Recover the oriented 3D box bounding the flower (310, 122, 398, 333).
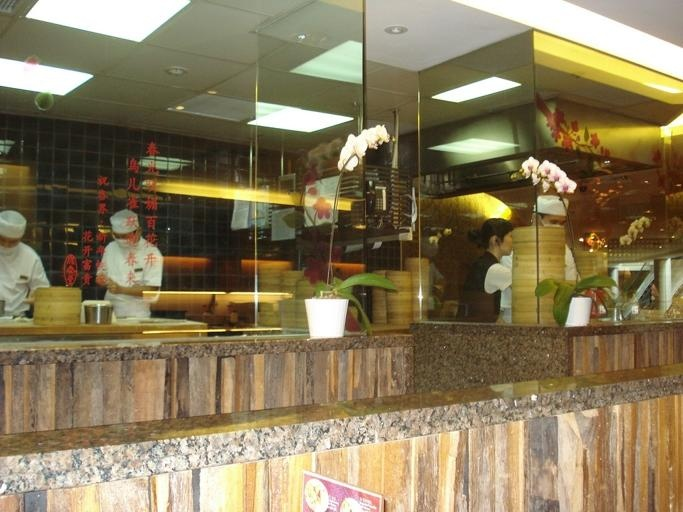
[{"bbox_3d":[0.036,-0.113,2.928,0.381,0.912,0.512,0,0,2],"label":"flower"}]

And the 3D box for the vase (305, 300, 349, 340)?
[{"bbox_3d":[-0.055,0.264,2.745,0.156,0.128,0.166,5,-11,-24],"label":"vase"}]

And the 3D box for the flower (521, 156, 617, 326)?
[{"bbox_3d":[1.127,-0.108,3.421,0.446,0.844,0.889,-1,0,21],"label":"flower"}]

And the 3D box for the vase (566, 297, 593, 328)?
[{"bbox_3d":[1.042,0.252,3.031,0.086,0.134,0.222,-1,0,37],"label":"vase"}]

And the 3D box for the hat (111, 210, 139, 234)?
[{"bbox_3d":[-1.358,-0.210,4.260,0.126,0.101,0.159,-3,7,5],"label":"hat"}]
